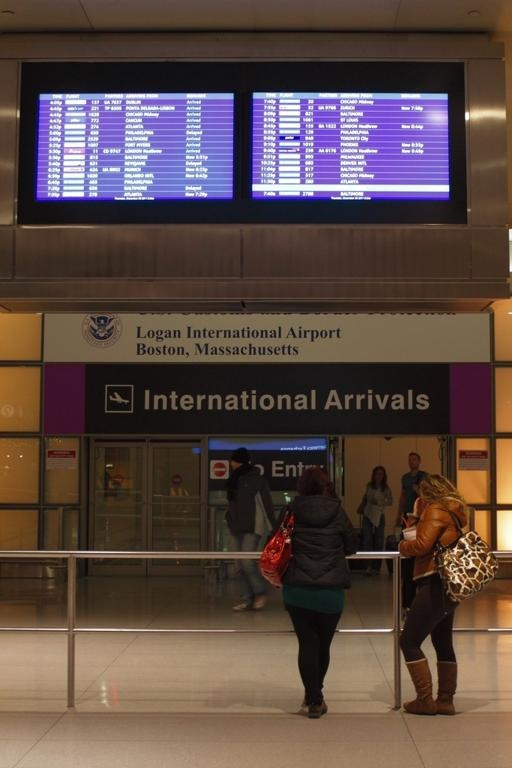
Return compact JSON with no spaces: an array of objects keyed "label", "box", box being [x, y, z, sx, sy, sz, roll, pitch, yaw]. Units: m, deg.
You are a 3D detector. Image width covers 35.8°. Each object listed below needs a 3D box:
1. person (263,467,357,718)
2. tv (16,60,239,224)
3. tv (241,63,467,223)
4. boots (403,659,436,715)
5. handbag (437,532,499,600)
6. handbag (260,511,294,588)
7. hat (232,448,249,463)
[{"label":"person","box":[0.296,1.238,4.609,0.573,1.457,0.381,0,1,-8]},{"label":"tv","box":[-0.781,-1.559,5.197,1.114,0.792,0.090,-1,-5,3]},{"label":"tv","box":[0.680,-1.533,5.165,1.067,0.740,0.114,0,-6,3]},{"label":"boots","box":[0.975,1.790,4.701,0.187,0.353,0.185,0,1,6]},{"label":"handbag","box":[1.210,1.037,4.578,0.388,0.357,0.180,-17,1,-29]},{"label":"handbag","box":[0.145,0.928,4.625,0.157,0.368,0.372,18,0,13]},{"label":"hat","box":[-0.200,0.746,8.175,0.172,0.140,0.128,1,-1,36]}]
